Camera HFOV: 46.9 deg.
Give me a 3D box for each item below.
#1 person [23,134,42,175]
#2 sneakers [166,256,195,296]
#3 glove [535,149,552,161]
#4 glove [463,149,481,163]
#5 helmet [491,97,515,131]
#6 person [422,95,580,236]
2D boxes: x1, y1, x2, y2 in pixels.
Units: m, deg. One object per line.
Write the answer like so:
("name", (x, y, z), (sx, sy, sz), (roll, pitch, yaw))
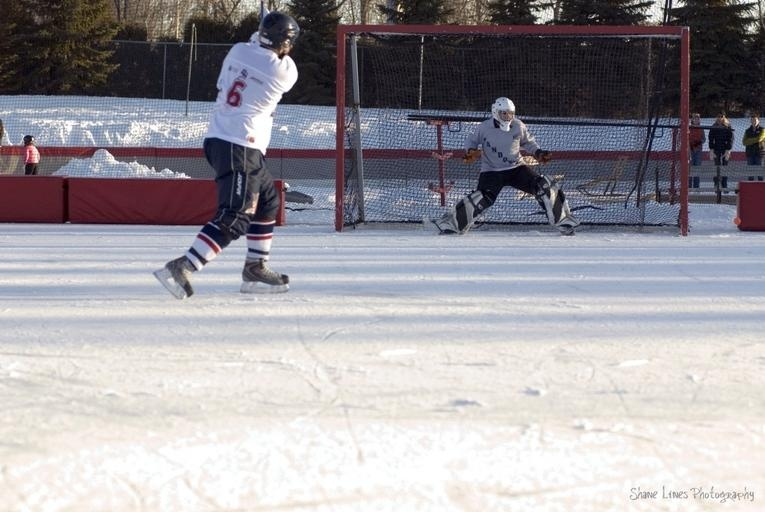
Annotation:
("person", (-6.384, -1.782, 16.094), (0.256, 0.757, 2.846), (-5, 10, -21))
("sneakers", (-1.359, 0.153, 5.972), (0.184, 0.286, 0.144), (-6, 10, -29))
("glove", (1.779, -1.083, 9.754), (0.136, 0.072, 0.176), (1, 18, -10))
("glove", (0.967, -1.070, 9.607), (0.146, 0.068, 0.199), (-4, 12, 13))
("helmet", (1.320, -1.545, 9.773), (0.239, 0.357, 0.262), (0, 9, 7))
("person", (1.368, -0.982, 10.011), (1.536, 1.529, 0.564), (0, 9, 11))
